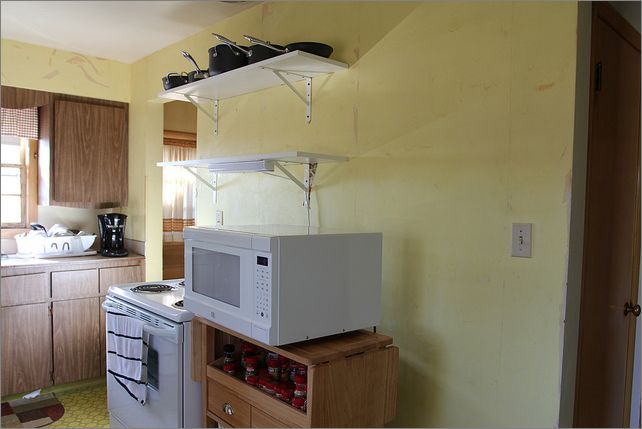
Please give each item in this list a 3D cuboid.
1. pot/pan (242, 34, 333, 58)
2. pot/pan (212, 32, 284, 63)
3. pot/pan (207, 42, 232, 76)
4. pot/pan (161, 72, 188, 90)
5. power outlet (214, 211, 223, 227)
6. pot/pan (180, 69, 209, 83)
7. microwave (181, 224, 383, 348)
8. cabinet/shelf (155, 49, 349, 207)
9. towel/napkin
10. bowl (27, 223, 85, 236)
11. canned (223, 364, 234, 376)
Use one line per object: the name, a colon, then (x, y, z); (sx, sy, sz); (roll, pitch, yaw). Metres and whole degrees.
pot/pan: (-0.144, -0.937, 2.797); (0.328, 0.047, 0.204); (2, 3, -2)
pot/pan: (-0.415, -0.935, 2.793); (0.364, 0.137, 0.195); (-4, 8, -36)
pot/pan: (-0.626, -0.952, 3.052); (0.197, 0.136, 0.159); (-8, 5, -31)
pot/pan: (-0.991, -0.894, 3.376); (0.134, 0.069, 0.165); (-4, 5, -28)
power outlet: (-0.734, 0.031, 3.554); (0.098, 0.178, 0.019); (5, 8, 40)
pot/pan: (-0.815, -0.901, 3.247); (0.152, 0.054, 0.110); (1, 5, 23)
microwave: (-0.170, 0.319, 2.550); (0.601, 0.437, 0.817); (0, 1, -31)
cabinet/shelf: (-0.461, -0.465, 3.158); (1.280, 0.875, 0.484); (0, 4, 42)
towel/napkin: (-1.165, 0.865, 3.012); (0.078, 0.546, 0.587); (-7, 14, -41)
bowl: (-2.229, 0.121, 4.203); (0.403, 0.120, 0.286); (-3, 3, -16)
canned: (-0.486, 0.819, 2.623); (0.049, 0.045, 0.048); (4, 1, -37)
